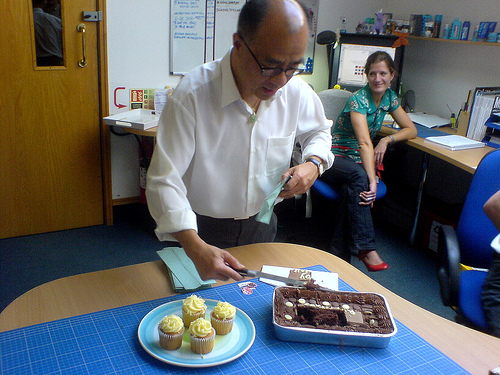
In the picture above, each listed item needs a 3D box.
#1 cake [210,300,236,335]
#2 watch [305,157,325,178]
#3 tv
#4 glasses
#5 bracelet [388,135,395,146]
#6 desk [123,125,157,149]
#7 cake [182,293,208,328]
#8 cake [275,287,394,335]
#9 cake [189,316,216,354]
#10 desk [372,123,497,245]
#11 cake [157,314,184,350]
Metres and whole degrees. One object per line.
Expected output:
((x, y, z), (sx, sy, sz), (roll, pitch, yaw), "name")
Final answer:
((-0.085, 0.410, 1.157), (0.072, 0.099, 0.088), (0, 16, -6), "cake")
((0.291, -0.099, 1.551), (0.052, 0.091, 0.089), (-39, 35, -18), "watch")
((1.155, -1.213, 3.499), (0.579, 0.595, 0.314), (6, 10, 7), "tv")
((0.057, -0.419, 1.148), (0.192, 0.125, 0.077), (1, 22, 0), "glasses")
((1.229, -0.418, 3.132), (0.060, 0.065, 0.065), (17, 34, 27), "bracelet")
((-0.976, -0.442, 3.107), (0.306, 0.197, 0.324), (3, 17, -8), "desk")
((-0.174, 0.380, 1.143), (0.072, 0.094, 0.084), (-1, 18, -9), "cake")
((0.268, 0.395, 1.173), (0.248, 0.051, 0.153), (2, 28, 3), "cake")
((-0.143, 0.429, 1.077), (0.069, 0.093, 0.089), (-1, 19, -6), "cake")
((1.600, 0.093, 3.197), (0.604, 0.544, 1.071), (-22, 42, -22), "desk")
((-0.231, 0.420, 1.034), (0.070, 0.091, 0.086), (1, 16, -6), "cake")
